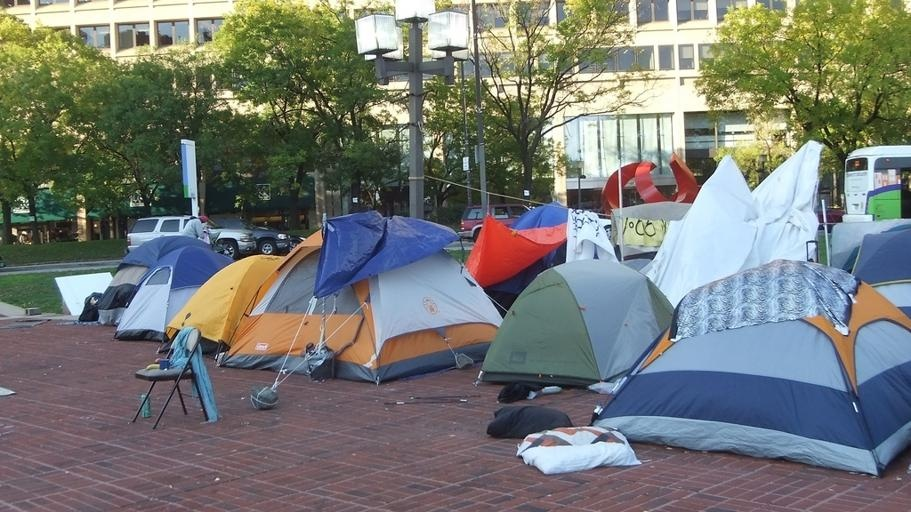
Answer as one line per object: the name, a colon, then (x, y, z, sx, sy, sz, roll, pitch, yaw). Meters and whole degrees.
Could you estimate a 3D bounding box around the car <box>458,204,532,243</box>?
car: (2.250, -1.608, 47.722, 3.885, 1.717, 2.050, -6, 4, -3)
